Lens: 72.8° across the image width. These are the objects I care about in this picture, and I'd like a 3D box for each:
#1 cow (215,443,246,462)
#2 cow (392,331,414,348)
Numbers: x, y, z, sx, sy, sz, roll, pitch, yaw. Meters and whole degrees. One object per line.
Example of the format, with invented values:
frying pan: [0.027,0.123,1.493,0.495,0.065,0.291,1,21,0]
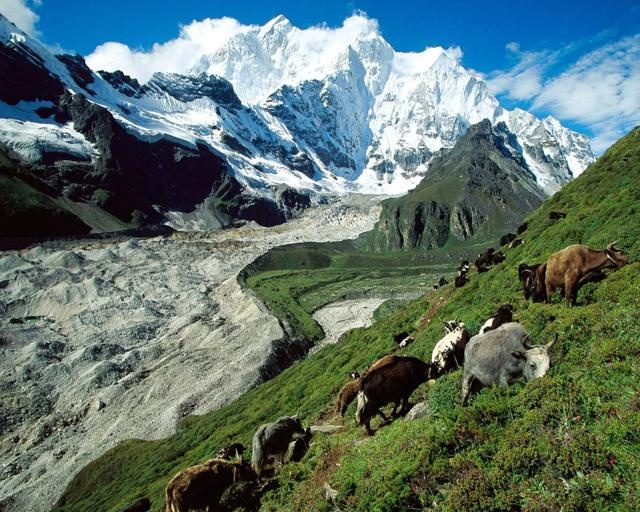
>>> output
cow: [-6.449,14.550,32.226,2.029,0.800,2.098,-16,-10,36]
cow: [7.930,7.955,41.192,1.988,0.607,1.455,-31,-7,31]
